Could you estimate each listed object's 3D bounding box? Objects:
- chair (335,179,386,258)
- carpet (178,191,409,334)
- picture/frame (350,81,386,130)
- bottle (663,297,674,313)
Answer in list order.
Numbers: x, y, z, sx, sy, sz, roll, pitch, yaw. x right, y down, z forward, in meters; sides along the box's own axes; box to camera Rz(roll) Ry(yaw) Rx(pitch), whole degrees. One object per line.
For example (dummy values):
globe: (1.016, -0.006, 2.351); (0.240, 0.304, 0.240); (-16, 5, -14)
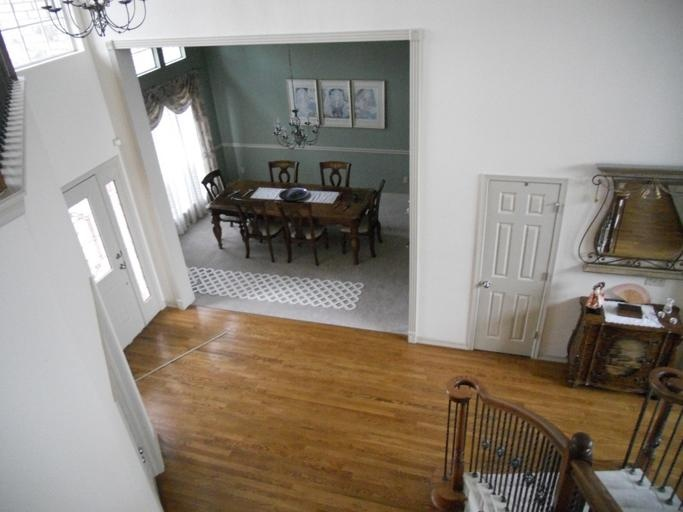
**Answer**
chair: (0.315, -0.573, 8.046); (0.677, 1.215, 0.796); (11, 46, 12)
carpet: (-0.694, 0.230, 7.713); (3.788, 0.439, 2.255); (5, 24, 14)
picture/frame: (0.517, -2.795, 8.899); (0.786, 1.060, 0.102); (3, 34, 13)
bottle: (3.432, 0.506, 5.096); (0.083, 0.149, 0.147); (15, 28, 34)
